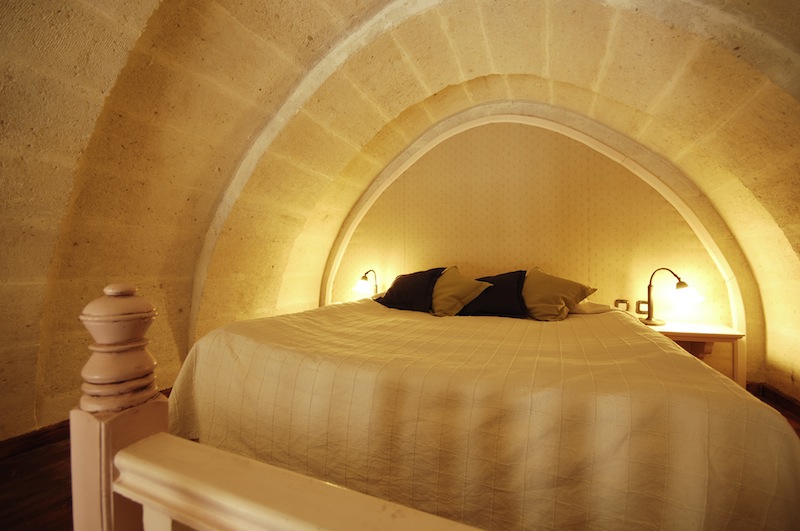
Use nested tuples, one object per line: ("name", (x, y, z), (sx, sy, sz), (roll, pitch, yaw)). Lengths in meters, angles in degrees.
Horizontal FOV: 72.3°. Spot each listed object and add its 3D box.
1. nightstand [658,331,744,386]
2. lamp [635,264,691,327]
("nightstand", (2.411, 0.617, 4.392), (0.579, 0.562, 0.507), (-2, -5, 27))
("lamp", (2.181, 0.268, 4.572), (0.372, 0.498, 0.222), (2, 19, 24))
